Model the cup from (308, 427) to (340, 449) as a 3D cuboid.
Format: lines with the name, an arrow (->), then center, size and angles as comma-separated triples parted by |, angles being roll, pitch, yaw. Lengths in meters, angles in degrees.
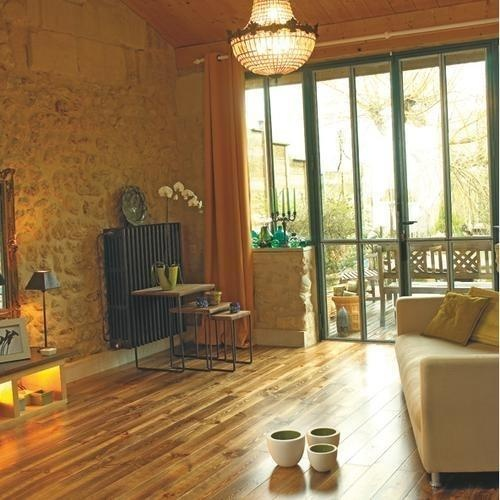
cup -> 0.352, 0.879, 2.114 | 0.116, 0.077, 0.114 | -1, 1, 0

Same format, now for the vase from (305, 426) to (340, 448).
vase -> 0.347, 0.881, 2.110 | 0.113, 0.076, 0.113 | 0, 1, 41

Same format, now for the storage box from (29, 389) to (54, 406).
storage box -> -1.495, 1.065, 3.240 | 0.121, 0.068, 0.120 | -2, -4, 33

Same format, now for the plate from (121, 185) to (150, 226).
plate -> -1.154, -0.434, 4.506 | 0.143, 0.350, 0.440 | -5, -1, 22

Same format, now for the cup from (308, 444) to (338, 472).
cup -> 0.334, 0.944, 2.039 | 0.129, 0.120, 0.173 | -4, -1, 7

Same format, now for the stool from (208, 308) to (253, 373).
stool -> -0.211, 0.883, 4.453 | 0.503, 0.608, 0.644 | -1, 1, 22

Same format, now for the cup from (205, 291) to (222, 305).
cup -> -0.345, 0.455, 4.199 | 0.132, 0.081, 0.128 | 0, 2, 0

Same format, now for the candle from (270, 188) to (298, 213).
candle -> 0.382, -0.537, 4.959 | 0.198, 0.269, 0.276 | -4, -1, -28

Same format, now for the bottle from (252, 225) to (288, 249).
bottle -> 0.222, -0.133, 4.889 | 0.457, 0.227, 0.178 | -4, -1, 33

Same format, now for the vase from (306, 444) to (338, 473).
vase -> 0.324, 0.926, 1.987 | 0.129, 0.080, 0.121 | -1, -4, -3

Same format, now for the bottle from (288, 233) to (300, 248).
bottle -> 0.467, -0.091, 4.768 | 0.141, 0.168, 0.135 | -1, 7, -24

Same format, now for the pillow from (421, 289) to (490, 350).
pillow -> 1.304, 0.437, 2.827 | 0.096, 0.279, 0.311 | 29, -3, -17

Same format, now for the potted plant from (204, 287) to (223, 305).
potted plant -> -0.350, 0.442, 4.221 | 0.156, 0.096, 0.156 | 0, 1, 41

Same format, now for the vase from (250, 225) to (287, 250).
vase -> 0.211, -0.114, 4.905 | 0.446, 0.265, 0.227 | 0, 0, 0

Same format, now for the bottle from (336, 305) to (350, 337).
bottle -> 1.005, 0.782, 4.824 | 0.144, 0.328, 0.037 | -5, -1, 32

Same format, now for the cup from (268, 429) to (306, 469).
cup -> 0.152, 0.907, 2.107 | 0.175, 0.117, 0.171 | -2, -1, 0

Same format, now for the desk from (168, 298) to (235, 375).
desk -> -0.547, 0.878, 4.648 | 0.626, 0.691, 0.771 | 0, 1, 12

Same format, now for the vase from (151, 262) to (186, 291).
vase -> -0.827, 0.250, 4.238 | 0.317, 0.215, 0.211 | -4, -7, 31

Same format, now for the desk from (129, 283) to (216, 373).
desk -> -0.705, 0.595, 4.500 | 0.754, 0.945, 1.088 | 0, 1, 17

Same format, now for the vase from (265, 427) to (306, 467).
vase -> 0.175, 0.940, 2.109 | 0.189, 0.127, 0.189 | -9, -7, 43
